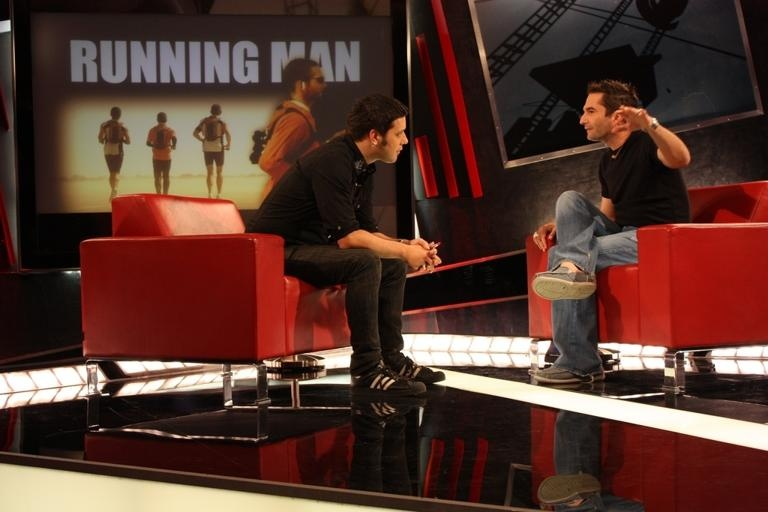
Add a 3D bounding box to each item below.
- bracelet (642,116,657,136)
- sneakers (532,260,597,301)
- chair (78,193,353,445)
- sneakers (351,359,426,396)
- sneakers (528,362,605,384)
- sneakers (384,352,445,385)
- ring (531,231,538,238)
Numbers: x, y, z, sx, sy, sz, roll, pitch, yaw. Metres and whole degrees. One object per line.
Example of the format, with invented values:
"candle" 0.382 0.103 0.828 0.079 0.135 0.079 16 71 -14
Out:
"bracelet" 1.363 -0.660 3.391 0.040 0.084 0.102 23 6 27
"sneakers" 0.894 0.123 3.416 0.366 0.159 0.152 3 -37 -8
"chair" -0.741 0.227 3.575 1.065 0.997 1.284 -1 0 24
"sneakers" 0.009 0.603 3.292 0.402 0.155 0.139 1 -2 2
"sneakers" 0.971 0.621 3.540 0.377 0.130 0.138 2 -5 -1
"sneakers" 0.148 0.577 3.445 0.390 0.135 0.133 4 3 -10
"ring" 0.858 -0.120 3.781 0.023 0.026 0.072 -1 -5 5
